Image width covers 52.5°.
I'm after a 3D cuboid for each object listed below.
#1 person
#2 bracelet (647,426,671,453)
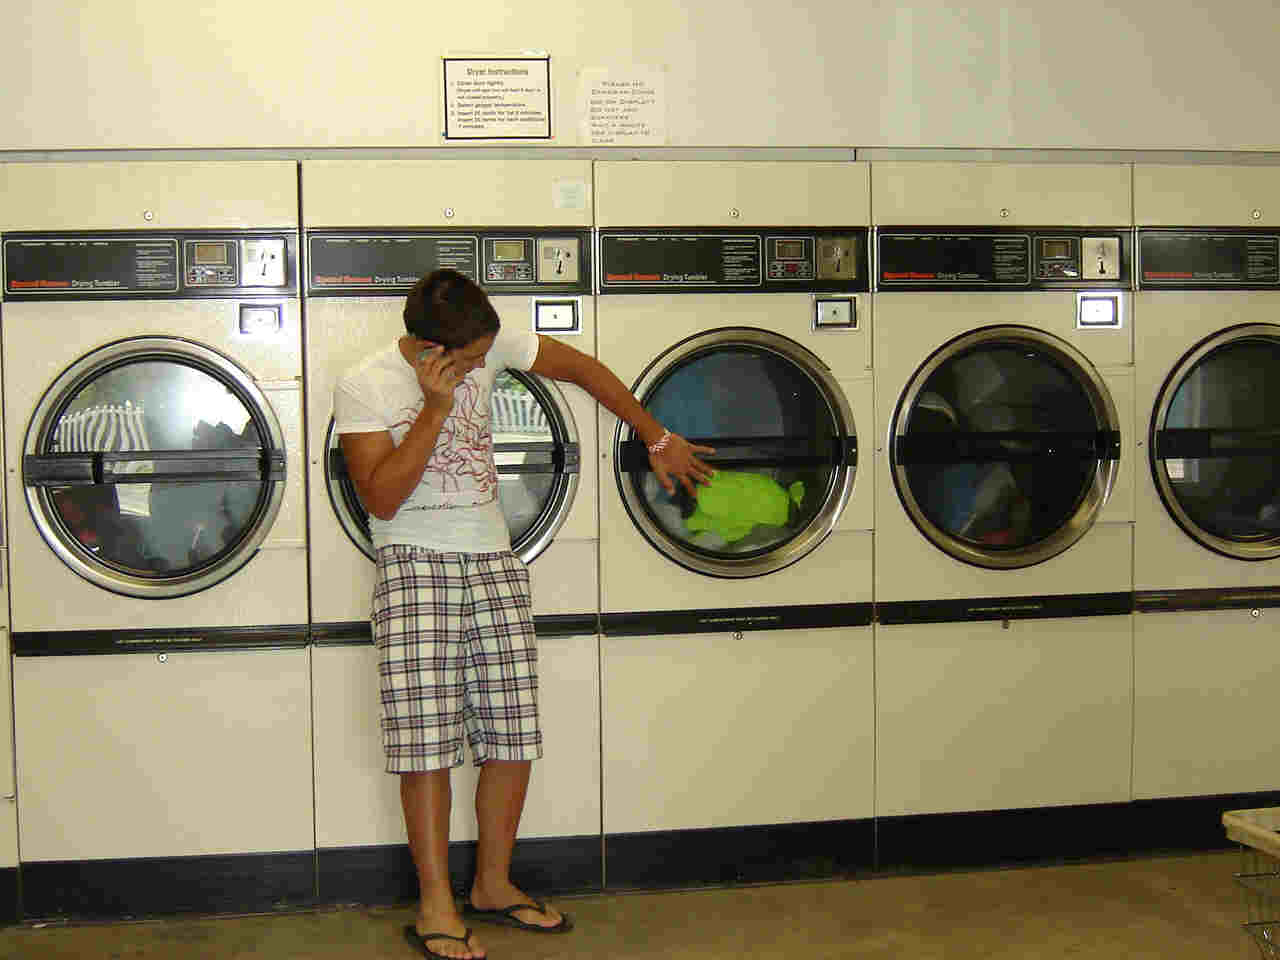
[{"bbox_3d":[-0.418,0.372,3.857,0.820,1.965,0.458,-6,9,-41],"label":"person"},{"bbox_3d":[0.058,-0.133,4.003,0.023,0.070,0.070,45,42,17],"label":"bracelet"}]
